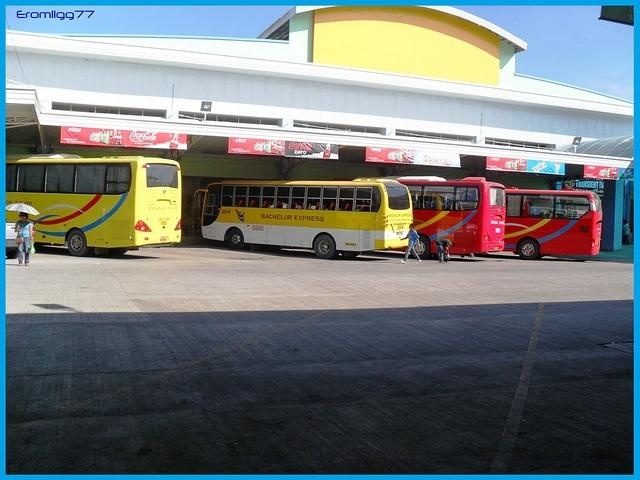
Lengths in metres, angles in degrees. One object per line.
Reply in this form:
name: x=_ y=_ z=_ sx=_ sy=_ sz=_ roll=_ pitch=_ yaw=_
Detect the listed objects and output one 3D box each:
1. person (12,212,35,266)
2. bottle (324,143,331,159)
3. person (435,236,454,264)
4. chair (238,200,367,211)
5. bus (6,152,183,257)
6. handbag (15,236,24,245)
person: x=-11.076 y=-0.006 z=18.230 sx=0.492 sy=1.807 sz=1.152 roll=0 pitch=4 yaw=-32
bottle: x=0.451 y=-5.217 z=28.661 sx=0.283 sy=0.932 sz=0.358 roll=7 pitch=5 yaw=0
person: x=6.359 y=0.494 z=24.728 sx=0.674 sy=1.149 sz=1.698 roll=3 pitch=3 yaw=18
chair: x=-0.602 y=-1.752 z=24.444 sx=3.836 sy=0.415 sz=0.428 roll=6 pitch=5 yaw=27
bus: x=-10.778 y=-1.585 z=22.636 sx=8.530 sy=4.493 sz=2.221 roll=3 pitch=3 yaw=18
handbag: x=-11.104 y=0.014 z=17.900 sx=0.193 sy=0.261 sz=0.259 roll=-2 pitch=-13 yaw=41
